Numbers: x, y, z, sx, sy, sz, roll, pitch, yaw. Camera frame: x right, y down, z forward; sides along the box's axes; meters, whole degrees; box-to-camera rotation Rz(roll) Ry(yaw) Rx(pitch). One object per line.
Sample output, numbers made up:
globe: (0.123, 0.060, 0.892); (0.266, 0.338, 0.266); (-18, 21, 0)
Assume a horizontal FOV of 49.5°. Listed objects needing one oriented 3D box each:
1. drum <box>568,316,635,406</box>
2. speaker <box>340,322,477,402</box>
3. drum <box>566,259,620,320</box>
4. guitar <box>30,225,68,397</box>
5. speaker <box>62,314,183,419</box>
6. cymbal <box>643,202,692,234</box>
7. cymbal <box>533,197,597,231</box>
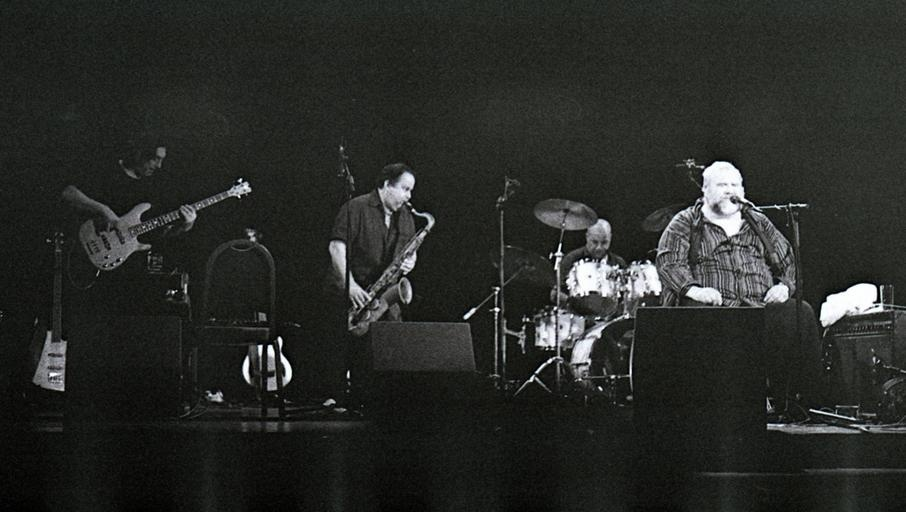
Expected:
drum: (1.303, 0.942, 8.435); (0.643, 0.601, 0.509); (4, -10, -33)
speaker: (-0.278, 0.962, 7.817); (0.979, 0.541, 0.684); (0, -2, -4)
drum: (1.223, 0.283, 8.411); (0.520, 0.354, 0.432); (12, -41, -4)
guitar: (-3.261, 0.498, 8.032); (0.097, 1.320, 0.325); (7, 4, 37)
speaker: (-2.521, 0.875, 7.563); (0.859, 0.701, 0.426); (0, -11, 1)
cymbal: (1.761, -0.276, 8.098); (0.304, 0.104, 0.252); (-31, -24, 33)
cymbal: (0.944, -0.377, 8.199); (0.449, 0.435, 0.079); (20, -47, 8)
